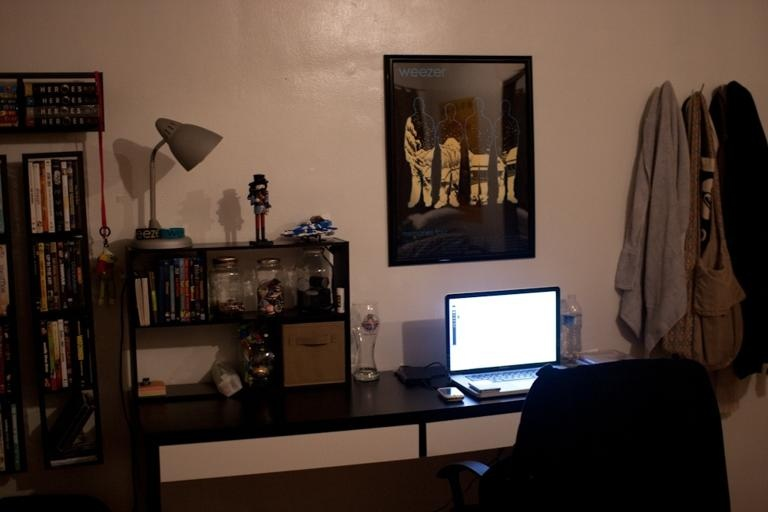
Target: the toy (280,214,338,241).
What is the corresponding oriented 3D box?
[{"bbox_3d":[-0.363,-0.161,3.310,0.204,0.080,0.156,-4,5,-40],"label":"toy"}]
